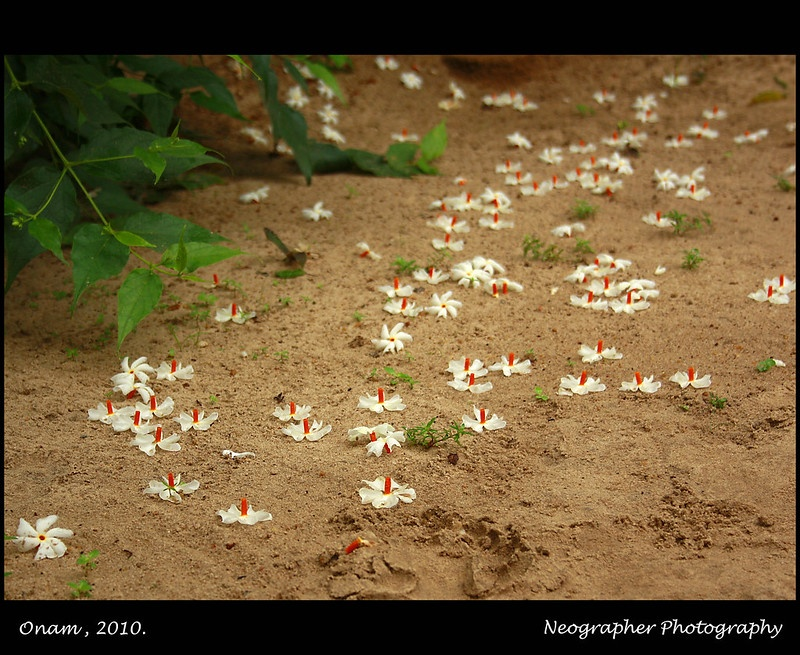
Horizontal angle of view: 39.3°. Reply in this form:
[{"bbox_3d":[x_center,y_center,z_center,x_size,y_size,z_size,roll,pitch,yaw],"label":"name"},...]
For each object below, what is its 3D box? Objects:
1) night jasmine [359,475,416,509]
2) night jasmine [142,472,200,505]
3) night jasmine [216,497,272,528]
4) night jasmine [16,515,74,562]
[{"bbox_3d":[-0.050,0.605,4.105,0.140,0.053,0.143,13,26,31],"label":"night jasmine"},{"bbox_3d":[-0.849,0.594,4.146,0.141,0.054,0.132,-7,25,-20],"label":"night jasmine"},{"bbox_3d":[-0.558,0.671,4.057,0.131,0.043,0.124,6,13,13],"label":"night jasmine"},{"bbox_3d":[-1.254,0.738,3.963,0.216,0.047,0.218,16,21,-21],"label":"night jasmine"}]
